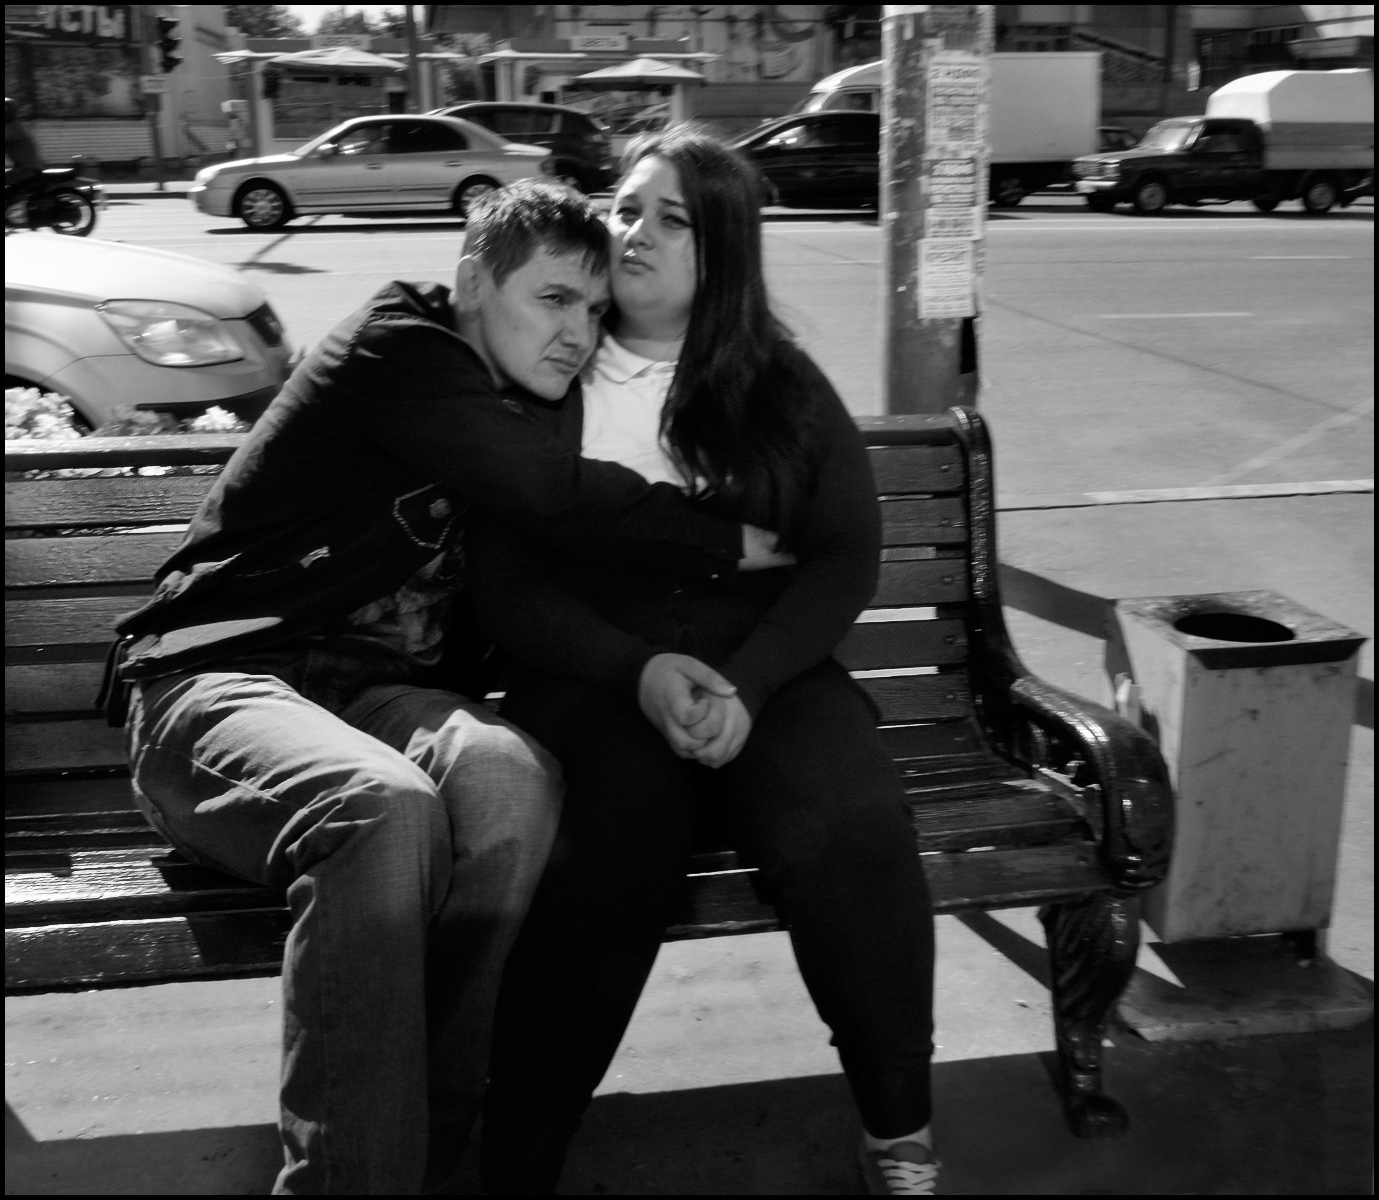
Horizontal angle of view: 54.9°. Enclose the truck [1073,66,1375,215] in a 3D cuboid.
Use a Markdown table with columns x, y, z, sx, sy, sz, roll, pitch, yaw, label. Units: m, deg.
| x | y | z | sx | sy | sz | roll | pitch | yaw | label |
| --- | --- | --- | --- | --- | --- | --- | --- | --- | --- |
| 9.421 | -7.719 | 22.603 | 5.043 | 2.389 | 1.290 | -5 | 15 | -11 | truck |
